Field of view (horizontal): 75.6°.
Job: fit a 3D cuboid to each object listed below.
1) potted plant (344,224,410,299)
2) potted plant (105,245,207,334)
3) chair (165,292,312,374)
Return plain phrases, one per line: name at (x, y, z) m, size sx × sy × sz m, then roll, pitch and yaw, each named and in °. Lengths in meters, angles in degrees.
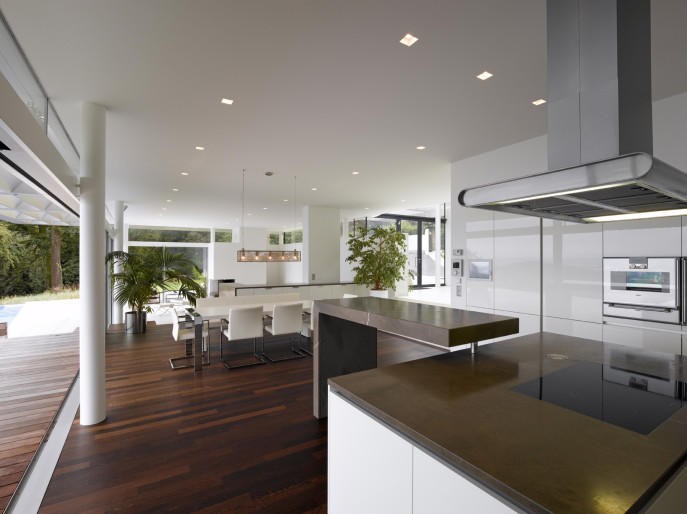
potted plant at (0.665, 0.031, 10.321) m, size 1.780 × 2.039 × 1.441 m, roll 1°, pitch -2°, yaw -19°
potted plant at (-3.590, 0.729, 8.411) m, size 1.500 × 1.486 × 1.643 m, roll 6°, pitch -3°, yaw 29°
chair at (-1.753, 1.095, 6.848) m, size 1.835 × 0.972 × 1.826 m, roll -4°, pitch 10°, yaw -27°
